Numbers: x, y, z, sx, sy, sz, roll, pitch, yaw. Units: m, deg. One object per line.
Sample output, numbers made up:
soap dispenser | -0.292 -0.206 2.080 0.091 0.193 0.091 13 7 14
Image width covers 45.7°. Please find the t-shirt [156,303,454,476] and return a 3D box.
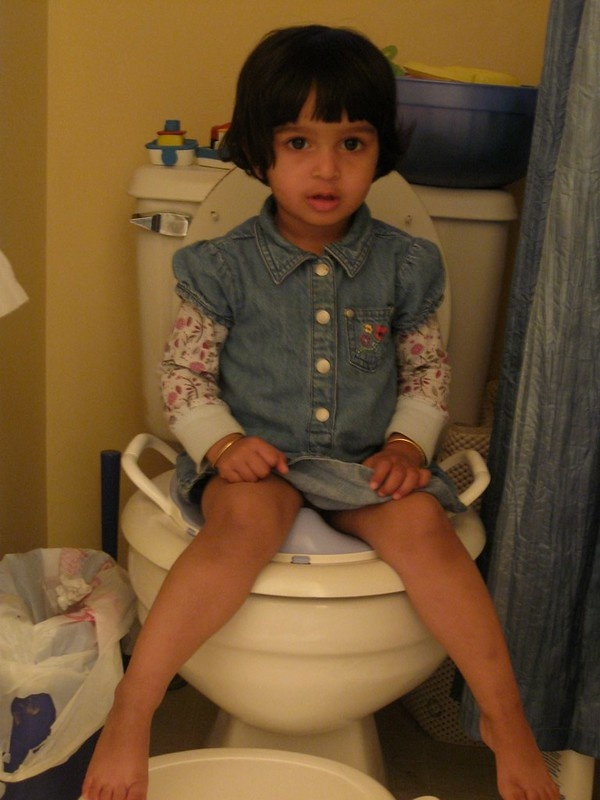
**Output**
t-shirt | 0.048 -0.045 0.962 0.428 0.146 0.394 10 17 -5

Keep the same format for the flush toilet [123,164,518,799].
flush toilet | 0.009 0.083 0.877 0.457 0.684 0.586 -4 21 -13

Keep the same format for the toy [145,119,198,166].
toy | -0.189 -0.389 1.070 0.073 0.053 0.091 2 28 1
